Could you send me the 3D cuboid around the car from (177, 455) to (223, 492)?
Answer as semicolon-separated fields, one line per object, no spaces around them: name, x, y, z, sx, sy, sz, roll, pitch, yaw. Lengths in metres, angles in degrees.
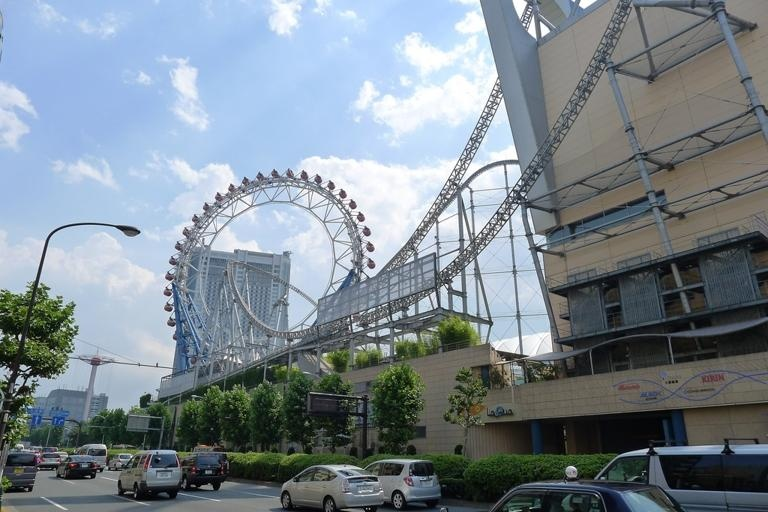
car;-10.807;12.911;33.619;2.355;2.067;1.564;8;-26;-15

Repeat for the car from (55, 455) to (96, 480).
car;-22.764;15.848;42.162;2.463;1.606;1.470;-12;-28;27

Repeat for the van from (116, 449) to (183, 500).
van;-12.754;12.158;31.255;4.794;2.472;2.689;-20;-32;39
